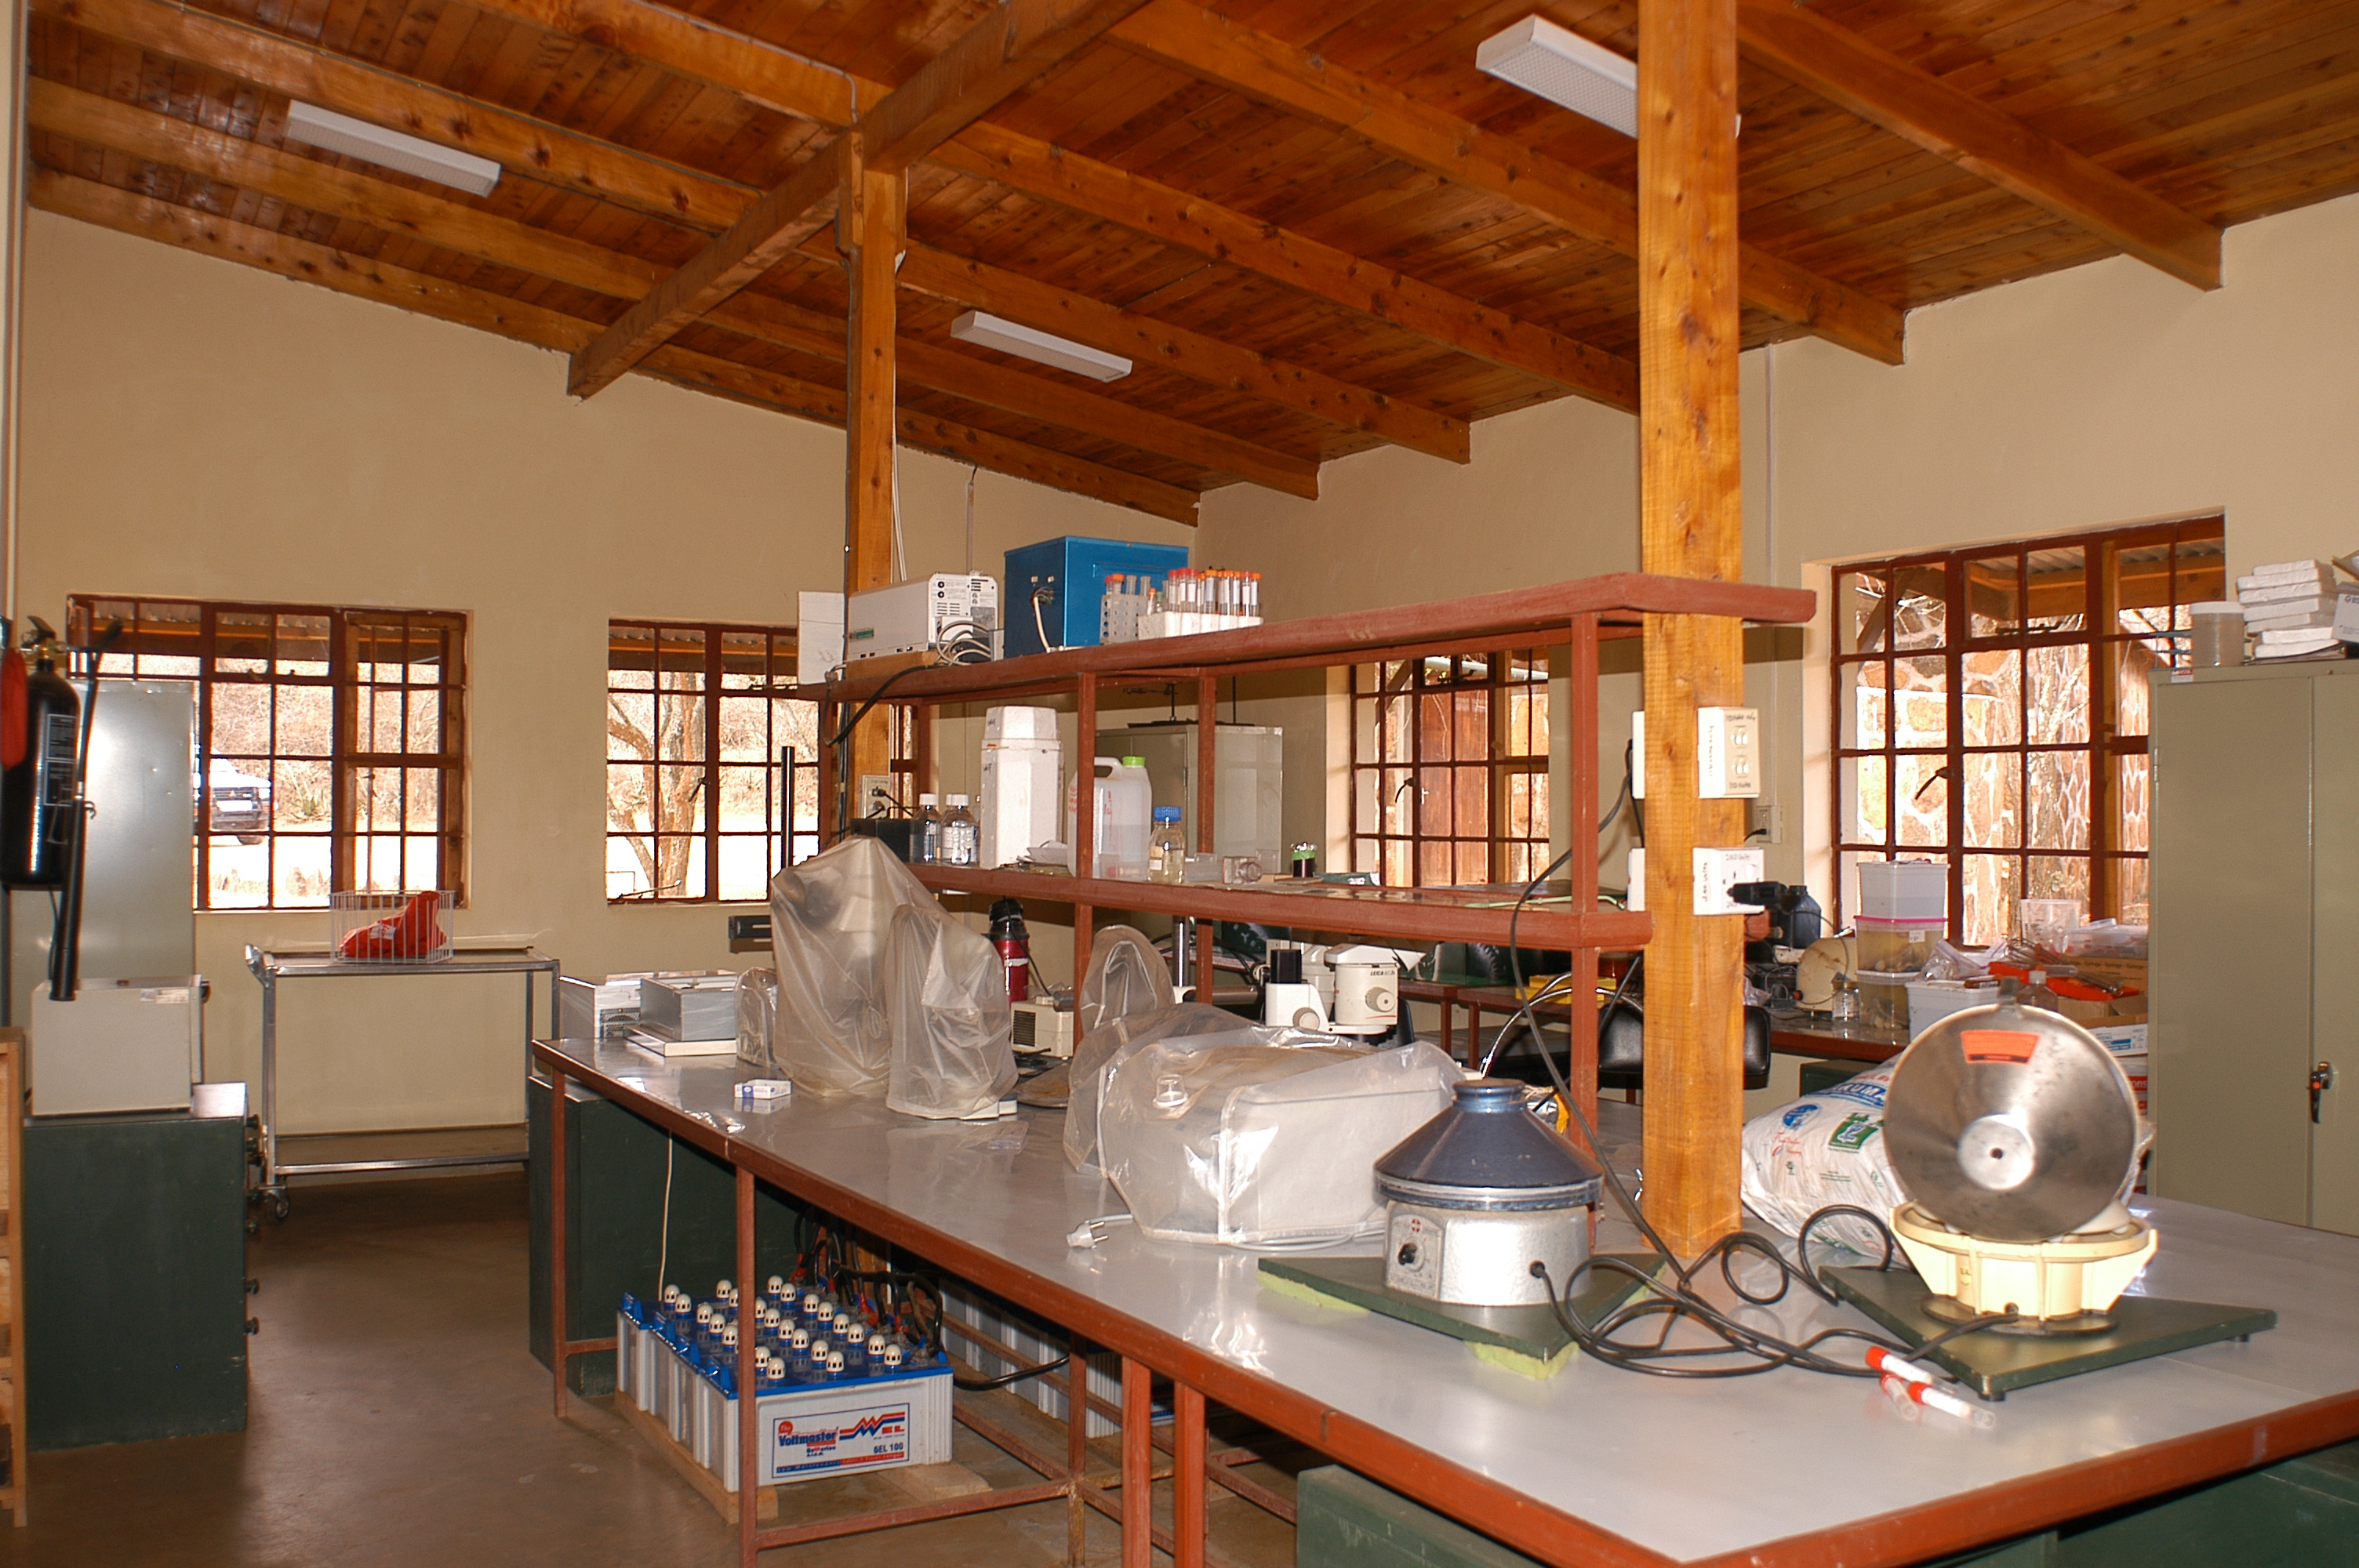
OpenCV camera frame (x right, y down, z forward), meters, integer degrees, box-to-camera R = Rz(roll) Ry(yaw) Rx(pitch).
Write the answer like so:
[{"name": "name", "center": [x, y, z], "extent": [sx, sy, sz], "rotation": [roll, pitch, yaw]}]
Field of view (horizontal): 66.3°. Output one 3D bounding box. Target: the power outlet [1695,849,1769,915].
[{"name": "power outlet", "center": [1.081, 0.197, 3.577], "extent": [0.178, 0.116, 0.041], "rotation": [0, -6, -10]}]

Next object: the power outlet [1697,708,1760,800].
[{"name": "power outlet", "center": [1.083, -0.056, 3.586], "extent": [0.055, 0.154, 0.165], "rotation": [-7, -10, 40]}]

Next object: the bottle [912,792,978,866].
[{"name": "bottle", "center": [-0.687, 0.143, 5.245], "extent": [0.071, 0.165, 0.201], "rotation": [5, -7, -37]}]

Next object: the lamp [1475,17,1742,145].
[{"name": "lamp", "center": [1.237, -2.243, 5.660], "extent": [0.603, 0.261, 0.240], "rotation": [-5, 9, -32]}]

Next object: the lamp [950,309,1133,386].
[{"name": "lamp", "center": [-0.624, -2.022, 8.343], "extent": [0.832, 0.232, 0.305], "rotation": [-4, 8, -31]}]

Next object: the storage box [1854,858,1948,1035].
[{"name": "storage box", "center": [2.565, 0.542, 6.442], "extent": [0.292, 0.403, 1.442], "rotation": [3, 8, 22]}]

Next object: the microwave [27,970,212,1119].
[{"name": "microwave", "center": [-3.113, 0.755, 5.257], "extent": [0.389, 0.298, 0.397], "rotation": [0, 1, -20]}]
